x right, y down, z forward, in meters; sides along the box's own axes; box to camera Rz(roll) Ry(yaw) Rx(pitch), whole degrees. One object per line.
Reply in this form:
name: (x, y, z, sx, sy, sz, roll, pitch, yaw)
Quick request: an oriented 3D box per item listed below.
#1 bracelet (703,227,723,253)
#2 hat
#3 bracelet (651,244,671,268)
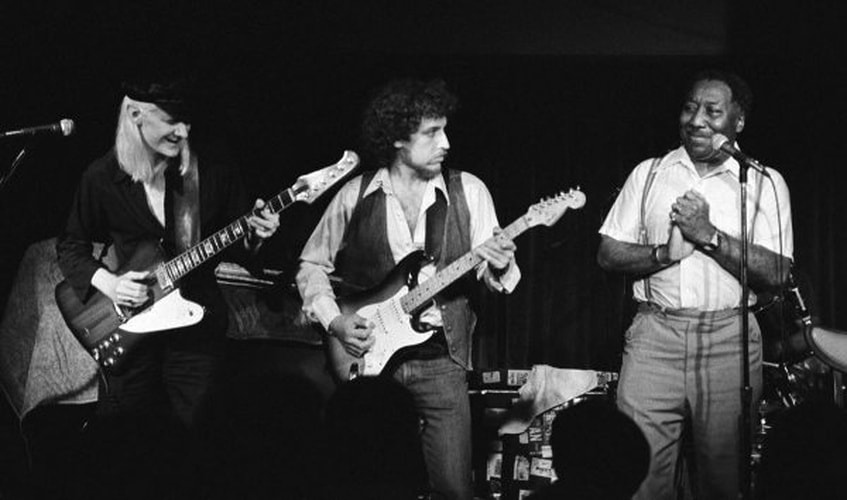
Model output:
bracelet: (2.054, -0.075, 5.730, 0.116, 0.174, 0.050, 10, 1, 1)
hat: (-1.979, -1.195, 6.130, 0.462, 0.182, 0.394, 24, 25, -4)
bracelet: (1.680, 0.037, 5.748, 0.105, 0.099, 0.140, -1, 10, 0)
